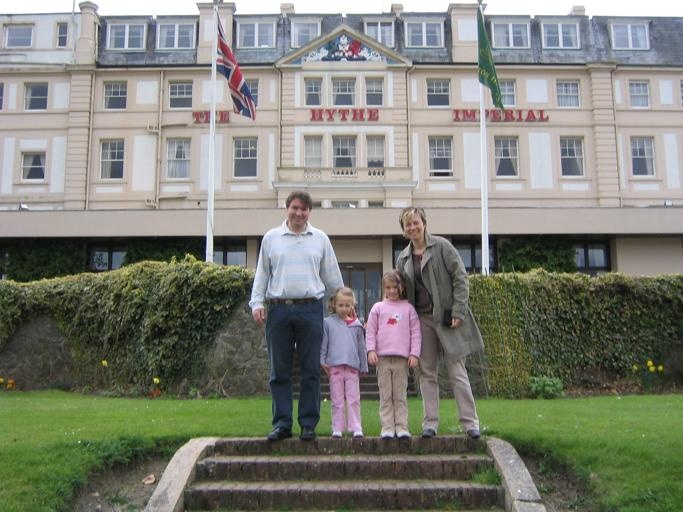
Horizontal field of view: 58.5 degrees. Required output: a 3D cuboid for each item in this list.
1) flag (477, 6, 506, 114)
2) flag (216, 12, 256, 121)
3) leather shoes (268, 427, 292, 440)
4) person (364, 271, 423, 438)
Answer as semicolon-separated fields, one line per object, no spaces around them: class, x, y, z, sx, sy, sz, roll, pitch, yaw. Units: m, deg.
flag;4.527;-6.121;18.767;0.626;3.511;1.489;-2;-6;15
flag;-3.463;-6.139;19.734;1.174;3.568;1.353;0;-6;-14
leather shoes;-0.870;2.511;8.610;0.336;0.177;0.149;3;-6;-12
person;0.753;1.398;8.848;0.799;2.410;0.319;-1;-5;3
